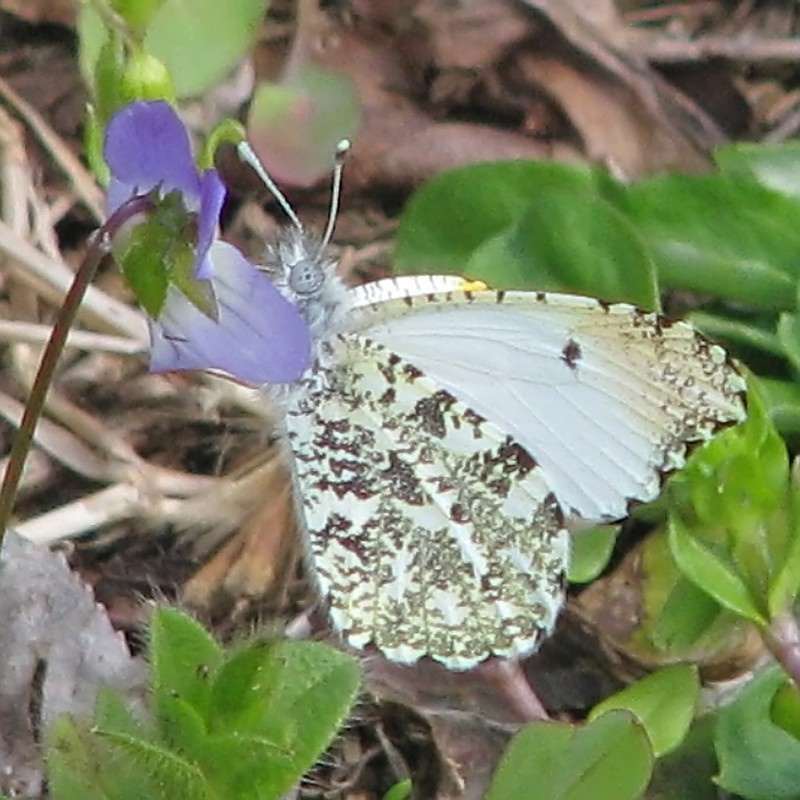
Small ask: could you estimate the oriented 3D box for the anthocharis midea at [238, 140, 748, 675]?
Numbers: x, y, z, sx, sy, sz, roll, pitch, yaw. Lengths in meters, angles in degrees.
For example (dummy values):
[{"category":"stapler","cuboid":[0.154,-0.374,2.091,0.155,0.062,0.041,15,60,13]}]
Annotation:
[{"category":"anthocharis midea","cuboid":[0.068,0.101,2.319,0.740,0.525,0.483,25,62,13]}]
